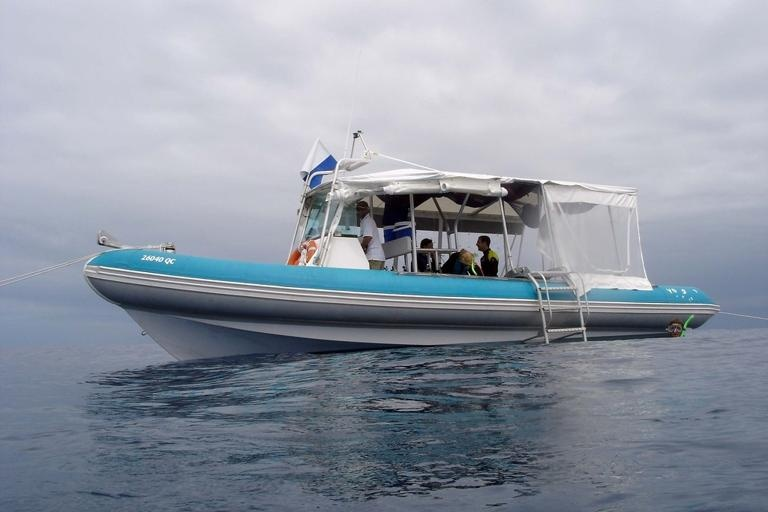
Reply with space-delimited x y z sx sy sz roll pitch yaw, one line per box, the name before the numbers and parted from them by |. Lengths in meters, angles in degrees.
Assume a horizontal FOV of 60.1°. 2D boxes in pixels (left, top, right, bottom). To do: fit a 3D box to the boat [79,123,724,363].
boat | -0.097 0.241 11.085 11.281 2.350 3.649 4 -15 -19
